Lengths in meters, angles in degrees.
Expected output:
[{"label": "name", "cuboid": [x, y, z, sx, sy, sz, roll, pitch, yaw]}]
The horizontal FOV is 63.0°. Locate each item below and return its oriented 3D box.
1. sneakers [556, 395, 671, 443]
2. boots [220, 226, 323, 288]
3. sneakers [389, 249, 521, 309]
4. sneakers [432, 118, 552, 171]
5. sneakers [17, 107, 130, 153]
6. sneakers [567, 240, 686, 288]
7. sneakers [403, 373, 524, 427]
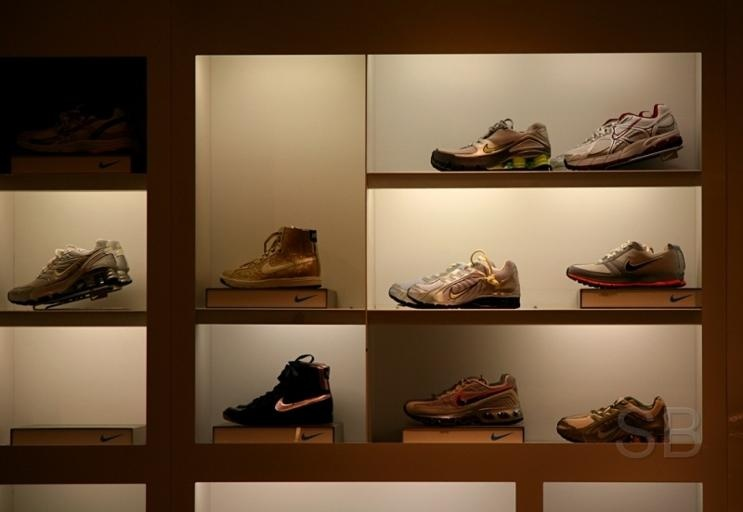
[{"label": "sneakers", "cuboid": [0.895, 0.601, 2.297, 0.427, 0.172, 0.153, 1, -9, 7]}, {"label": "boots", "cuboid": [-0.330, 0.021, 2.389, 0.470, 0.280, 0.170, 2, -5, 1]}, {"label": "sneakers", "cuboid": [0.311, 0.091, 2.365, 0.492, 0.213, 0.204, 1, -4, 0]}, {"label": "sneakers", "cuboid": [0.453, -0.429, 2.394, 0.466, 0.204, 0.185, 1, -1, 4]}, {"label": "sneakers", "cuboid": [-1.067, -0.455, 2.356, 0.469, 0.206, 0.170, 2, -5, -3]}, {"label": "sneakers", "cuboid": [0.963, 0.036, 2.331, 0.443, 0.183, 0.160, 2, -8, 5]}, {"label": "sneakers", "cuboid": [0.369, 0.552, 2.364, 0.482, 0.213, 0.173, 2, -10, 0]}]
